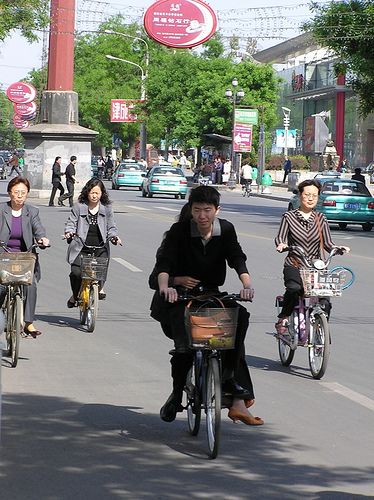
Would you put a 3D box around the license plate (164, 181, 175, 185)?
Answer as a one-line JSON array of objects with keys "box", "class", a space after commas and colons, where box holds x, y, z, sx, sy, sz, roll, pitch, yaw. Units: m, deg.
[{"box": [-1.036, -4.015, 36.532, 0.620, 0.221, 0.083, 0, 1, -21], "class": "license plate"}]

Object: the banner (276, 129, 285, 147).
[{"box": [10.554, -12.730, 69.601, 0.835, 2.088, 2.414, 1, 1, 10], "class": "banner"}]

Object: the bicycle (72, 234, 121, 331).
[{"box": [-1.201, 0.387, 7.799, 0.466, 1.187, 0.996, 1, 1, -9], "class": "bicycle"}]

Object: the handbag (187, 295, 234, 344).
[{"box": [0.133, 0.363, 3.328, 0.288, 0.236, 0.195, -8, 6, -5], "class": "handbag"}]

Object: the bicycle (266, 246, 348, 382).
[{"box": [1.245, 0.553, 6.328, 0.699, 1.205, 1.886, 1, 1, 12], "class": "bicycle"}]

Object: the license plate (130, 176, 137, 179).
[{"box": [-3.808, -5.228, 44.079, 0.487, 0.182, 0.060, 0, 1, -11], "class": "license plate"}]

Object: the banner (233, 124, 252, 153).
[{"box": [4.478, -9.210, 50.200, 1.402, 2.451, 1.440, 1, 1, 11], "class": "banner"}]

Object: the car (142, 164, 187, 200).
[{"box": [-1.314, -4.477, 38.446, 2.434, 1.889, 4.270, 1, 15, -12], "class": "car"}]

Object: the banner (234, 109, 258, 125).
[{"box": [4.881, -11.165, 51.547, 2.778, 1.497, 0.349, 2, 18, 14], "class": "banner"}]
